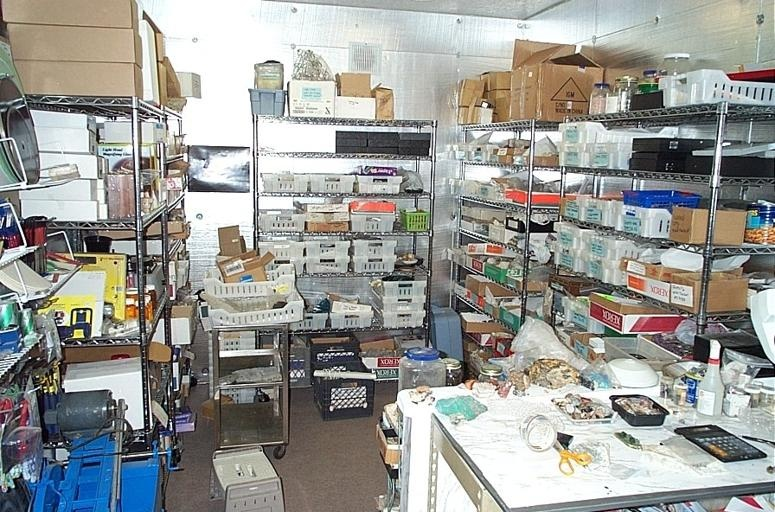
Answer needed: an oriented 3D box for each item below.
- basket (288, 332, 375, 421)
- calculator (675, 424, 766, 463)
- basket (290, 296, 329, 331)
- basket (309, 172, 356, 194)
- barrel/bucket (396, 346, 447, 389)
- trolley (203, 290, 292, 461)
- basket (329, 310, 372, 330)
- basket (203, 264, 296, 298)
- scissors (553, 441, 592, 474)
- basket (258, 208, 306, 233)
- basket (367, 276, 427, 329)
[{"bbox_3d":[-0.468,1.019,4.732,0.601,0.600,0.715,-1,10,-15],"label":"basket"},{"bbox_3d":[1.330,0.750,2.159,0.211,0.050,0.256,-9,14,-24],"label":"calculator"},{"bbox_3d":[-0.696,0.525,4.758,0.390,0.171,0.547,-1,6,-7],"label":"basket"},{"bbox_3d":[-0.526,-0.672,4.958,0.308,0.119,0.208,-2,11,-13],"label":"basket"},{"bbox_3d":[0.165,0.556,2.856,0.240,0.227,0.226,1,3,0],"label":"barrel/bucket"},{"bbox_3d":[-1.057,0.990,4.289,0.803,1.262,0.688,-2,12,-14],"label":"trolley"},{"bbox_3d":[-0.348,0.605,5.075,0.304,0.103,0.201,-1,6,-12],"label":"basket"},{"bbox_3d":[-1.113,0.140,4.360,0.837,0.240,0.613,0,9,-13],"label":"basket"},{"bbox_3d":[0.699,0.764,2.027,0.133,0.050,0.154,1,14,19],"label":"scissors"},{"bbox_3d":[-0.977,-0.312,4.953,0.287,0.105,0.268,-2,11,-17],"label":"basket"},{"bbox_3d":[0.074,0.417,5.397,0.636,0.440,0.472,-2,12,-10],"label":"basket"}]
